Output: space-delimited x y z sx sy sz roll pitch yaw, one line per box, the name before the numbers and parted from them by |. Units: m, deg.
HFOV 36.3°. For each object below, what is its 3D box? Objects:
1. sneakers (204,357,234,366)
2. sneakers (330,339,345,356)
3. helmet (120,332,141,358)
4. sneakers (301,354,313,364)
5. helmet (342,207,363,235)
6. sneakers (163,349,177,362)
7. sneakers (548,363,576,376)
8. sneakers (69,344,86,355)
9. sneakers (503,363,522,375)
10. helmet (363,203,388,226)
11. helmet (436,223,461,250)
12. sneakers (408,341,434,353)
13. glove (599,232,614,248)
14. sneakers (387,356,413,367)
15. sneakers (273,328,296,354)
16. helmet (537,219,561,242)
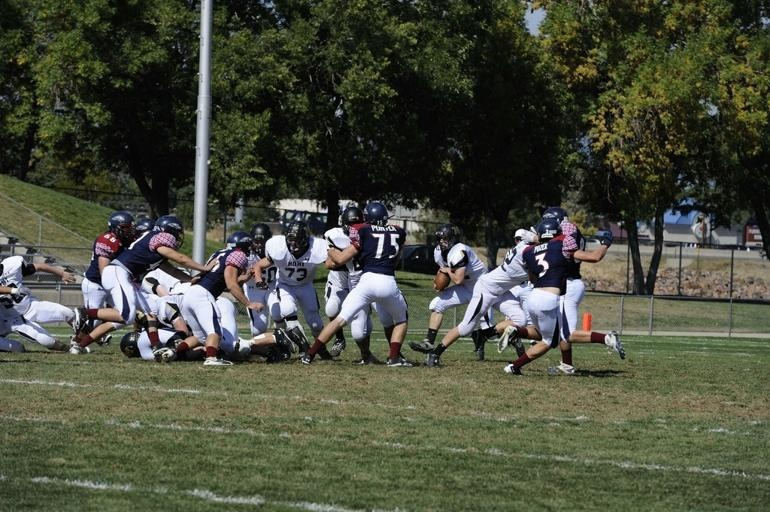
sneakers | -3.407 2.180 24.177 0.635 0.232 0.216 0 1 -5
sneakers | -1.069 2.048 26.081 0.199 0.250 0.565 4 22 14
helmet | -5.419 1.909 24.912 0.512 0.492 0.407 -4 8 -6
sneakers | -1.625 2.178 24.690 0.169 0.180 0.277 7 -11 -40
helmet | -0.701 -0.751 25.121 0.458 0.556 0.572 0 22 -11
sneakers | -4.434 2.054 24.297 0.276 0.285 0.326 1 -3 -10
sneakers | 3.727 2.389 24.686 0.590 0.251 0.230 4 4 22
sneakers | -6.526 1.987 25.050 0.438 0.186 0.161 -3 -4 40
sneakers | 2.615 2.354 24.523 0.374 0.219 0.185 15 5 30
helmet | -0.192 -0.869 24.632 0.401 0.485 0.505 28 40 31
helmet | 1.413 -0.433 25.784 0.587 0.468 0.437 -6 3 -38
sneakers | 0.709 2.007 25.398 0.674 0.227 0.299 7 8 23
glove | 4.596 -0.346 24.499 0.255 0.373 0.952 0 -3 10
sneakers | 0.292 2.259 24.988 0.602 0.247 0.206 -4 13 -9
sneakers | -2.098 1.787 24.613 0.308 0.687 0.253 -22 24 12
helmet | 3.402 -0.579 24.355 0.397 0.405 0.514 11 31 27
